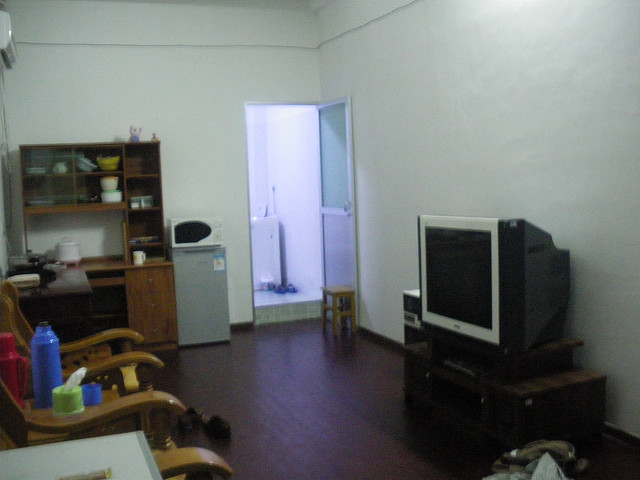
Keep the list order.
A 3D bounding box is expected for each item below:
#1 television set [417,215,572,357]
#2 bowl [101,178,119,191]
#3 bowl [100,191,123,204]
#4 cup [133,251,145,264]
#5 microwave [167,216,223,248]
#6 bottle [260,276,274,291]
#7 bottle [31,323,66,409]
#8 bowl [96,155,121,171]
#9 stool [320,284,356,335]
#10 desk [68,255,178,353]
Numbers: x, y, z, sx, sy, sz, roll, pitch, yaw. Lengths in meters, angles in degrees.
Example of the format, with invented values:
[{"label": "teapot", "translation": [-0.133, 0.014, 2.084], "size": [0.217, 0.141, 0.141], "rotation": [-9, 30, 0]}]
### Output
[{"label": "television set", "translation": [1.156, 0.222, 3.751], "size": [0.594, 0.697, 0.757], "rotation": [0, 0, -35]}, {"label": "bowl", "translation": [-2.270, -0.600, 5.792], "size": [0.124, 0.099, 0.147], "rotation": [-1, -3, -3]}, {"label": "bowl", "translation": [-2.245, -0.463, 5.754], "size": [0.140, 0.081, 0.168], "rotation": [0, -1, -7]}, {"label": "cup", "translation": [-1.931, 0.192, 5.748], "size": [0.108, 0.109, 0.129], "rotation": [1, -2, 22]}, {"label": "microwave", "translation": [-1.352, -0.089, 5.830], "size": [0.526, 0.329, 0.334], "rotation": [0, -4, -18]}, {"label": "bottle", "translation": [-0.787, 0.633, 7.871], "size": [0.196, 0.184, 0.195], "rotation": [2, 4, 23]}, {"label": "bottle", "translation": [-1.327, 0.605, 2.567], "size": [0.161, 0.383, 0.171], "rotation": [-3, 8, 0]}, {"label": "bowl", "translation": [-2.277, -0.819, 5.759], "size": [0.178, 0.123, 0.176], "rotation": [-1, 2, 0]}, {"label": "stool", "translation": [0.198, 0.776, 6.134], "size": [0.325, 0.452, 0.401], "rotation": [-2, 2, -28]}, {"label": "desk", "translation": [-2.126, 0.674, 5.756], "size": [1.053, 0.965, 0.585], "rotation": [-7, 14, -14]}]
